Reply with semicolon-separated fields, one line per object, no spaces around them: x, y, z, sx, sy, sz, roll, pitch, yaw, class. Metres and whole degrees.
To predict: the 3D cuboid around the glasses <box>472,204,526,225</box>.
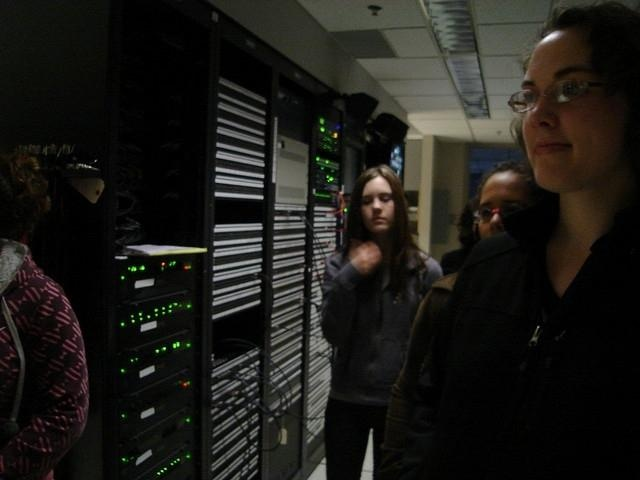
0.538;-0.080;1.488;0.084;0.024;0.080;10;-14;-37;glasses
